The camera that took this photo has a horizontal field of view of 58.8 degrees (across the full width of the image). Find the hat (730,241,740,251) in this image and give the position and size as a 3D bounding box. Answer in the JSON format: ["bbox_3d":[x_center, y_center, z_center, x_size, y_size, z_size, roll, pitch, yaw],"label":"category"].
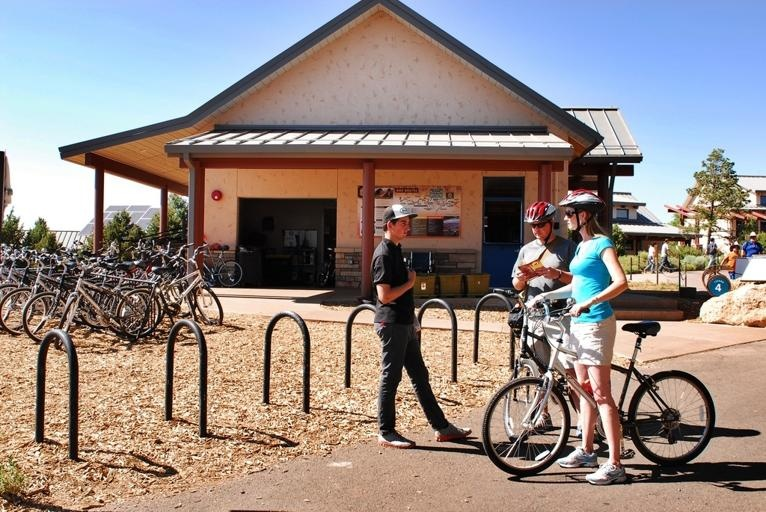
[{"bbox_3d":[14.253,-0.450,27.606,0.130,0.510,0.499,2,8,-18],"label":"hat"}]

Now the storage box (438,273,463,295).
[{"bbox_3d":[1.700,0.708,16.901,0.685,0.540,0.464,2,2,-15],"label":"storage box"}]

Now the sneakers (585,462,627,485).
[{"bbox_3d":[2.263,2.205,6.977,0.421,0.215,0.178,0,-3,-3],"label":"sneakers"}]

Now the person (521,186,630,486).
[{"bbox_3d":[2.159,0.810,7.016,0.589,2.880,0.878,-1,11,-12],"label":"person"}]

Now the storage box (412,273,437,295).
[{"bbox_3d":[1.050,0.729,16.725,0.483,0.563,0.780,-1,1,-2],"label":"storage box"}]

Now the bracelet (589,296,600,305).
[{"bbox_3d":[2.099,0.440,6.750,0.072,0.056,0.074,2,9,18],"label":"bracelet"}]

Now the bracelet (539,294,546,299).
[{"bbox_3d":[1.714,0.440,7.344,0.071,0.024,0.071,3,7,16],"label":"bracelet"}]

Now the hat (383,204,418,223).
[{"bbox_3d":[0.208,-0.487,7.727,0.320,0.225,0.477,5,12,14],"label":"hat"}]

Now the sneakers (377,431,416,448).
[{"bbox_3d":[0.143,2.043,7.636,0.320,0.142,0.179,1,-1,5],"label":"sneakers"}]

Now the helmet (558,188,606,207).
[{"bbox_3d":[2.072,-0.595,7.119,0.340,0.151,0.279,4,3,9],"label":"helmet"}]

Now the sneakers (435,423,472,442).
[{"bbox_3d":[0.786,1.984,7.795,0.423,0.185,0.169,-3,3,-6],"label":"sneakers"}]

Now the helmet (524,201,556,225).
[{"bbox_3d":[1.822,-0.497,7.751,0.241,0.189,0.363,-1,4,36],"label":"helmet"}]

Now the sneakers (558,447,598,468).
[{"bbox_3d":[2.050,2.113,7.195,0.379,0.195,0.182,2,-4,-1],"label":"sneakers"}]

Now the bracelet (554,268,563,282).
[{"bbox_3d":[1.955,0.199,7.611,0.064,0.118,0.098,2,6,-23],"label":"bracelet"}]

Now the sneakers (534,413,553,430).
[{"bbox_3d":[1.674,1.718,7.090,0.147,0.208,0.216,3,-11,-15],"label":"sneakers"}]

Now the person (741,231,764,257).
[{"bbox_3d":[11.453,-0.354,21.144,0.447,0.842,1.165,7,12,25],"label":"person"}]

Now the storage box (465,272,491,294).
[{"bbox_3d":[2.396,0.709,17.204,0.538,0.396,0.447,-1,1,23],"label":"storage box"}]
